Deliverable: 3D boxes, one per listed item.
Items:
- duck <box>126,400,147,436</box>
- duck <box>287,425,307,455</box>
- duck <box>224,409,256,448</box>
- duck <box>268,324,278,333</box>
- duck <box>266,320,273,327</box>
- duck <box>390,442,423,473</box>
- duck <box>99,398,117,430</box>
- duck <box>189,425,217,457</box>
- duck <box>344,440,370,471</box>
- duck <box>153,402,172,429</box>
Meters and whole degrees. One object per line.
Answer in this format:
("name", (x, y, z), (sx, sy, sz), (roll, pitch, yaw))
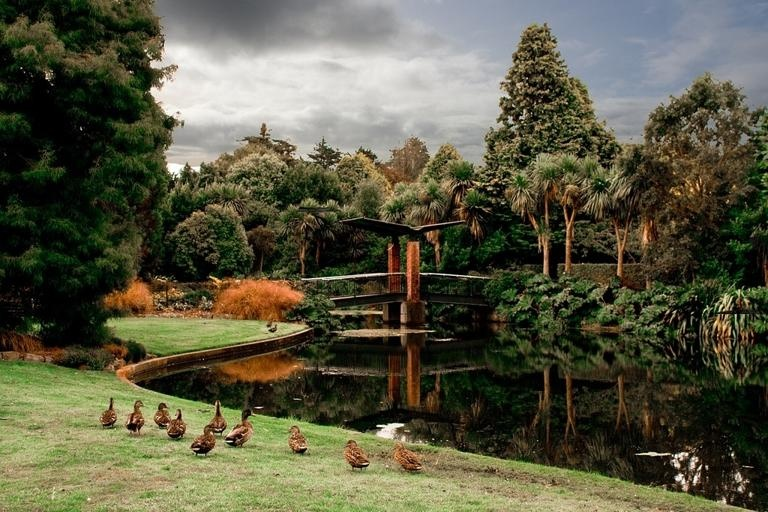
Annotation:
("duck", (-6.347, 4.082, 23.319), (0.433, 0.921, 1.053), (2, -14, -3))
("duck", (-2.191, 4.724, 23.535), (0.498, 0.693, 0.608), (4, -9, -4))
("duck", (-3.706, 4.373, 23.216), (0.521, 0.848, 0.947), (15, 18, 40))
("duck", (-4.682, 3.077, 38.622), (0.369, 0.294, 0.220), (-6, -5, 38))
("duck", (-4.891, 2.949, 39.210), (0.201, 0.136, 0.354), (-7, 10, 9))
("duck", (0.607, 5.110, 23.251), (0.752, 0.710, 0.521), (1, -9, 12))
("duck", (-7.027, 4.140, 23.809), (0.352, 0.756, 0.901), (1, -3, -5))
("duck", (-4.472, 4.538, 22.615), (0.470, 0.773, 0.883), (3, -2, 31))
("duck", (-0.671, 4.989, 22.909), (0.399, 0.612, 0.796), (1, -4, -32))
("duck", (-5.796, 4.188, 24.105), (0.354, 0.562, 0.838), (2, 2, -18))
